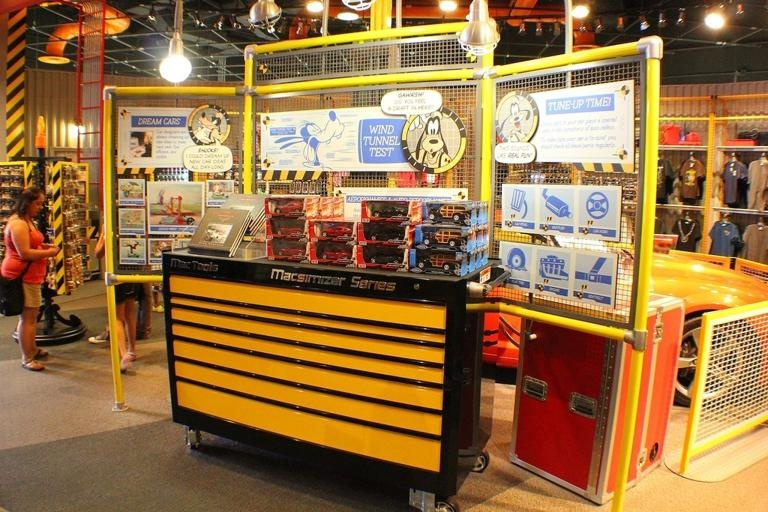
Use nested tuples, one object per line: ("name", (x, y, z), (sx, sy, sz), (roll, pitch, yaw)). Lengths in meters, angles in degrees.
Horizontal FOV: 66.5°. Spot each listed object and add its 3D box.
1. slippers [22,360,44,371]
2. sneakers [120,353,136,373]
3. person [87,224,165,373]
("slippers", (-4.076, 1.267, 6.758), (0.240, 0.077, 0.116), (6, 6, 27))
("sneakers", (-2.995, 1.242, 6.799), (0.131, 0.156, 0.374), (0, -2, -9))
("person", (-3.150, 0.462, 6.996), (0.683, 1.641, 1.468), (-4, 10, -26))
